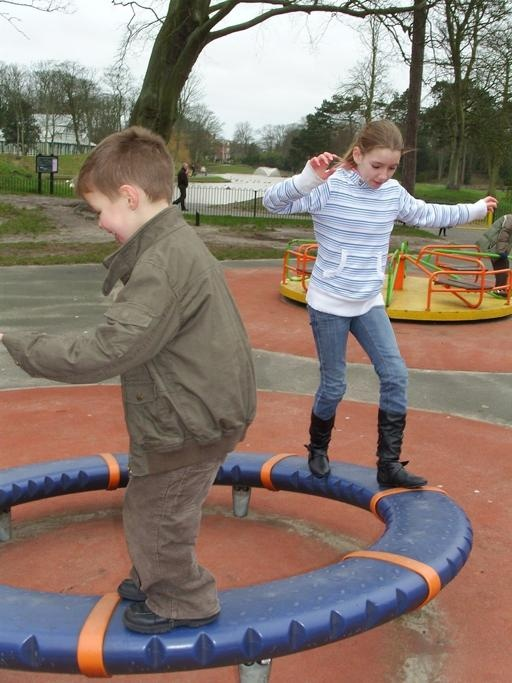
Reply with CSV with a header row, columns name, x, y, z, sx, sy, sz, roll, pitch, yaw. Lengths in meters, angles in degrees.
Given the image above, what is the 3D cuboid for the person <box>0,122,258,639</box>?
name,x,y,z,sx,sy,sz,roll,pitch,yaw
person,-0.298,0.127,1.861,0.539,1.406,0.479,3,11,15

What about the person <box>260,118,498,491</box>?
name,x,y,z,sx,sy,sz,roll,pitch,yaw
person,0.598,-0.184,3.339,0.979,1.704,0.685,-5,12,-27

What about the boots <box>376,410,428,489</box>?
name,x,y,z,sx,sy,sz,roll,pitch,yaw
boots,0.651,0.493,3.212,0.177,0.341,0.306,-2,10,-14

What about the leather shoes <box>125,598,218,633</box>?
name,x,y,z,sx,sy,sz,roll,pitch,yaw
leather shoes,-0.244,0.766,1.957,0.190,0.065,0.090,6,-3,-9
